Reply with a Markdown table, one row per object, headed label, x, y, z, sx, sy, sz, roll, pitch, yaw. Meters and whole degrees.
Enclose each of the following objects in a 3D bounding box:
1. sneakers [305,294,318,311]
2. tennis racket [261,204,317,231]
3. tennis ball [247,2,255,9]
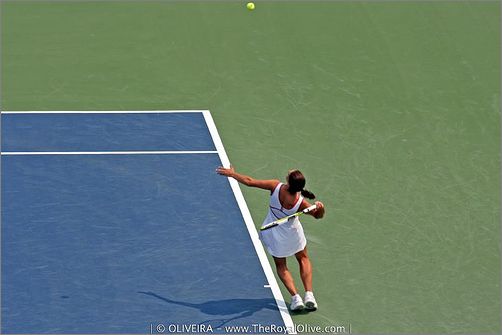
| label | x | y | z | sx | sy | sz | roll | pitch | yaw |
| --- | --- | --- | --- | --- | --- | --- | --- | --- | --- |
| sneakers | 1.239 | 2.724 | 17.732 | 0.177 | 0.412 | 0.197 | -4 | 52 | 4 |
| tennis racket | 0.817 | 1.049 | 18.216 | 1.262 | 0.132 | 0.199 | -20 | 38 | 1 |
| tennis ball | 0.020 | -4.620 | 24.929 | 0.236 | 0.137 | 0.186 | 1 | 68 | -5 |
